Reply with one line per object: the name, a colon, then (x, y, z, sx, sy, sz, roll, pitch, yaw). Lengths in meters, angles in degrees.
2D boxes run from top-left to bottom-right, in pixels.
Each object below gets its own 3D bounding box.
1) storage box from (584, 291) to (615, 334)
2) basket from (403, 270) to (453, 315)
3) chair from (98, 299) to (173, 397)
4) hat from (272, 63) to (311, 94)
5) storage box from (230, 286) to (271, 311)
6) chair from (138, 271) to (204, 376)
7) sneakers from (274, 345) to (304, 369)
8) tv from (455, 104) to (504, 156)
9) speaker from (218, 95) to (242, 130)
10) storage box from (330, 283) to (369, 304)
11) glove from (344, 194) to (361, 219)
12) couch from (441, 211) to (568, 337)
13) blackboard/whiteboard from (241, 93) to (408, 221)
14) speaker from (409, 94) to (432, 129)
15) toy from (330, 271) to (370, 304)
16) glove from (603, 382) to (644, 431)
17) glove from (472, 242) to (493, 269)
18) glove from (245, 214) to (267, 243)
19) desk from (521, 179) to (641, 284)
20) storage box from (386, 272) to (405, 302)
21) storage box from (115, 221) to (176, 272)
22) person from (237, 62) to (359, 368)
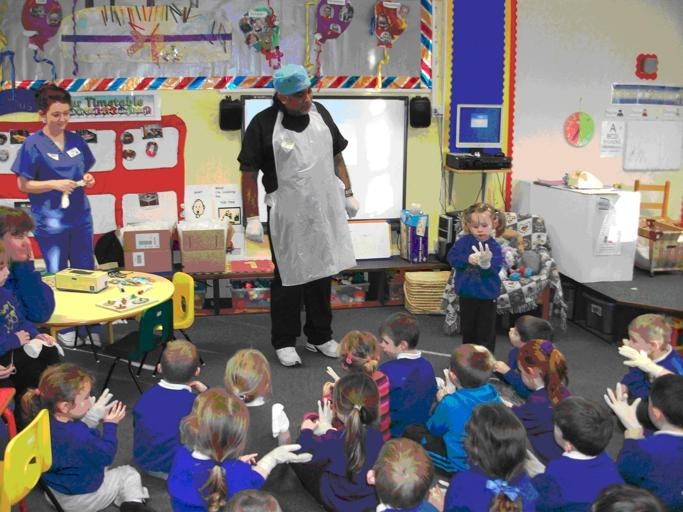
storage box: (2.350, 0.518, 5.039, 0.270, 0.264, 0.331, -1, 8, -14)
basket: (0.991, 0.462, 5.832, 0.614, 0.323, 0.841, -6, -18, 14)
chair: (-1.422, 0.610, 3.846, 0.460, 0.623, 0.453, 1, 12, -9)
hat: (-0.360, -1.243, 3.961, 0.223, 0.139, 0.226, -10, 26, -16)
storage box: (-0.915, 0.429, 5.524, 0.403, 0.225, 0.276, -2, 0, 0)
chair: (-1.342, 0.485, 4.280, 0.357, 0.624, 0.355, 19, 23, 39)
sneakers: (-0.408, 0.802, 4.369, 0.107, 0.088, 0.220, -4, 8, -28)
tv: (1.480, -1.384, 5.983, 0.564, 0.583, 0.205, 0, 6, -3)
speaker: (-1.124, -1.425, 5.540, 0.247, 0.314, 0.200, -4, 33, -21)
storage box: (0.073, 0.393, 5.687, 0.282, 0.145, 0.203, 0, -2, -5)
glove: (0.074, -0.392, 4.437, 0.135, 0.195, 0.071, 2, 9, 6)
couch: (1.578, 0.157, 5.299, 1.043, 0.968, 1.058, -2, 17, 0)
blackboard/whiteboard: (-0.165, -0.905, 4.778, 1.398, 1.034, 0.053, -1, 10, -10)
speaker: (0.842, -1.544, 5.907, 0.241, 0.330, 0.201, 4, 29, 16)
toy: (0.087, 0.305, 5.708, 0.330, 0.206, 0.327, -3, 4, -39)
glove: (1.468, 0.722, 2.872, 0.152, 0.090, 0.256, 3, -12, 40)
glove: (1.004, 0.003, 3.967, 0.158, 0.188, 0.200, 1, 6, 14)
glove: (-0.662, -0.199, 4.184, 0.120, 0.203, 0.210, -1, 6, -11)
desk: (2.399, -0.283, 5.639, 0.582, 0.784, 1.119, -2, 12, -4)
storage box: (0.566, 0.328, 5.756, 0.239, 0.285, 0.191, 3, 17, 8)
storage box: (-1.850, -0.122, 5.237, 0.451, 0.446, 0.443, 0, 12, -9)
person: (-0.329, -0.245, 4.208, 0.874, 2.247, 0.474, 0, 6, 2)
